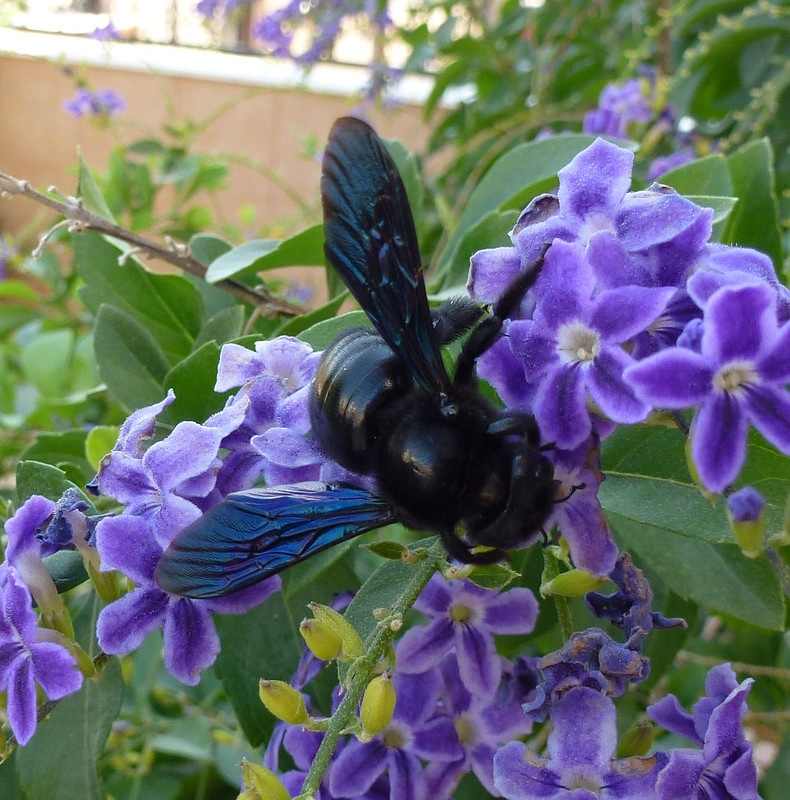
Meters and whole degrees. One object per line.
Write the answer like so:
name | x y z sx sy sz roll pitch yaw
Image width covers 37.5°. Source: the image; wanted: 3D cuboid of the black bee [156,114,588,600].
black bee | -0.018 -0.039 0.940 0.287 0.279 0.373 -2 35 23
